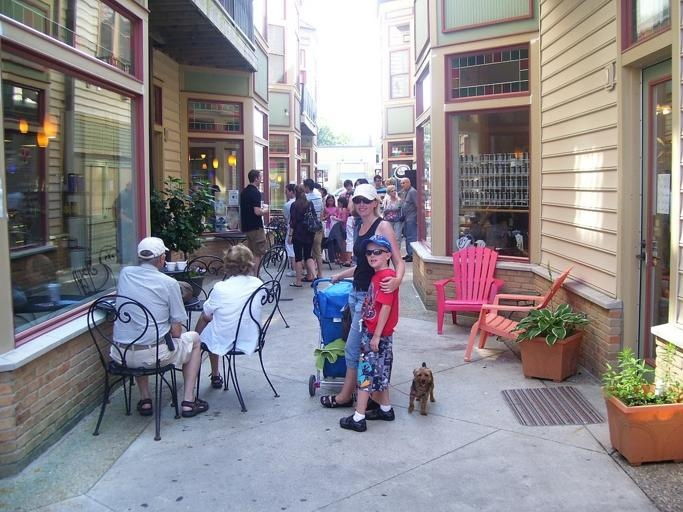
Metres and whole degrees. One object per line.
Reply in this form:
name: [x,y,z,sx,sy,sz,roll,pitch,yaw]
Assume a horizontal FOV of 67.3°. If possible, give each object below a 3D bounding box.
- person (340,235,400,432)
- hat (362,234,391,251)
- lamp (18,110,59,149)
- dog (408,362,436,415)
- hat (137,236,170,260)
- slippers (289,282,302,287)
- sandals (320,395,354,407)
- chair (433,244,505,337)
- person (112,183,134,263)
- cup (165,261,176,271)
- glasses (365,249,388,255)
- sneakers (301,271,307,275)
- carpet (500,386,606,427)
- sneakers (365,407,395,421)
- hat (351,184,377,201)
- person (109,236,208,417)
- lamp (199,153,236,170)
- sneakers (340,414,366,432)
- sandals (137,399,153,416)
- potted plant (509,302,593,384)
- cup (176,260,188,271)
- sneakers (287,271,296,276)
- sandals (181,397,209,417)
person: [0.233,0.659,4.492,0.518,1.658,0.403,-1,7,-7]
hat: [0.309,-0.113,4.386,0.177,0.102,0.118,19,-16,-38]
lamp: [-3.091,-1.306,5.370,0.260,0.158,0.270,-20,-17,33]
dog: [0.747,1.218,4.798,0.251,0.452,0.393,1,7,9]
hat: [-1.707,-0.067,4.672,0.171,0.136,0.248,0,23,6]
slippers: [-0.966,0.629,10.703,0.176,0.060,0.097,5,8,-1]
sandals: [-0.060,1.382,4.910,0.273,0.093,0.123,6,1,-2]
chair: [1.905,0.537,7.588,1.140,1.628,1.109,1,6,18]
person: [-2.582,-0.421,6.233,0.215,1.095,0.209,-3,7,-31]
cup: [-2.354,0.164,7.173,0.155,0.130,0.169,-1,-3,0]
glasses: [0.298,-0.026,4.365,0.163,0.052,0.065,-2,7,-8]
sneakers: [-0.890,0.420,12.028,0.093,0.055,0.131,-4,-7,3]
carpet: [1.946,1.415,4.759,0.779,0.027,0.791,0,7,5]
sneakers: [0.346,1.433,4.592,0.212,0.096,0.115,3,0,-2]
hat: [0.222,-0.581,4.670,0.136,0.112,0.191,-3,-4,14]
person: [-1.649,0.669,4.647,0.814,1.629,0.403,-4,8,-28]
lamp: [-3.097,-2.344,12.788,1.072,0.474,0.308,1,6,-11]
sneakers: [0.099,1.431,4.451,0.214,0.102,0.103,6,6,36]
sandals: [-1.814,1.415,4.737,0.085,0.081,0.194,0,9,-13]
potted plant: [2.308,0.885,5.657,0.734,0.791,0.755,1,4,42]
cup: [-2.320,0.156,7.472,0.119,0.165,0.166,-1,-7,3]
sneakers: [-1.202,0.447,12.227,0.127,0.101,0.238,-1,-4,20]
sandals: [-1.364,1.416,4.754,0.106,0.106,0.236,3,6,23]
